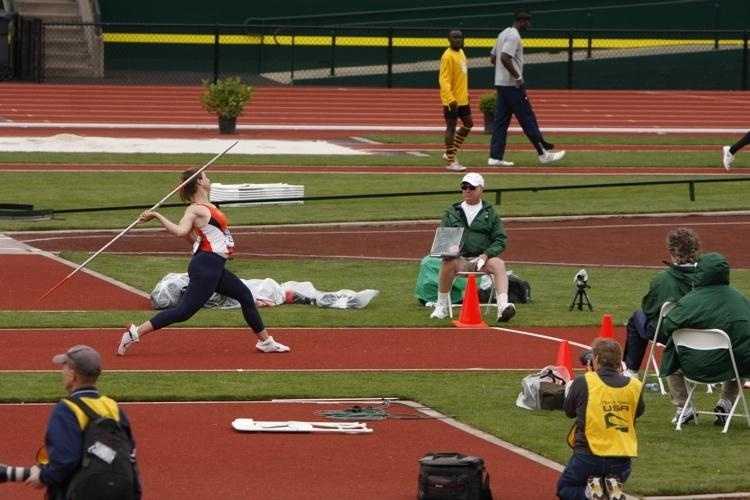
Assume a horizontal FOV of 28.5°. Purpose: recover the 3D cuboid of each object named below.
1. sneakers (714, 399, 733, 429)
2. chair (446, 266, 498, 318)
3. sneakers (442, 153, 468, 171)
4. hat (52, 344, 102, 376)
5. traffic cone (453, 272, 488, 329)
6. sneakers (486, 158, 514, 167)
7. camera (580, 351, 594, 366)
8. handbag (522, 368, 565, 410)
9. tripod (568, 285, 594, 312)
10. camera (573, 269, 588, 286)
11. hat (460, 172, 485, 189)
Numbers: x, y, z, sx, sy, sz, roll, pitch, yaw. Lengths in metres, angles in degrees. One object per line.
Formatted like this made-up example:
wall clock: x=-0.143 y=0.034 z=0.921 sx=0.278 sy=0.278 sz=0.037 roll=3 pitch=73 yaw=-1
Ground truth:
sneakers: x=4.602 y=2.118 z=19.432 sx=0.188 sy=0.356 sz=0.213 roll=10 pitch=6 yaw=20
chair: x=1.660 y=0.578 z=23.674 sx=1.118 sy=0.669 sz=0.745 roll=0 pitch=20 yaw=0
sneakers: x=1.750 y=-1.971 z=34.024 sx=0.746 sy=0.218 sz=0.211 roll=5 pitch=28 yaw=6
hat: x=-3.302 y=1.238 z=16.863 sx=0.597 sy=0.237 sz=0.331 roll=10 pitch=13 yaw=17
traffic cone: x=1.477 y=0.757 z=22.843 sx=0.508 sy=0.816 sz=0.533 roll=1 pitch=2 yaw=2
sneakers: x=2.843 y=-2.002 z=33.630 sx=0.704 sy=0.210 sz=0.179 roll=-1 pitch=37 yaw=-4
camera: x=2.679 y=1.359 z=18.686 sx=0.237 sy=0.109 sz=0.313 roll=-3 pitch=6 yaw=2
handbag: x=2.310 y=1.840 z=20.049 sx=0.718 sy=0.226 sz=0.731 roll=-10 pitch=13 yaw=-8
tripod: x=3.300 y=0.764 z=23.637 sx=0.413 sy=0.410 sz=0.364 roll=14 pitch=25 yaw=39
camera: x=3.173 y=0.420 z=22.741 sx=0.339 sy=0.261 sz=0.326 roll=5 pitch=5 yaw=8
hat: x=1.634 y=-1.127 z=23.467 sx=0.370 sy=0.175 sz=0.464 roll=4 pitch=-6 yaw=33
